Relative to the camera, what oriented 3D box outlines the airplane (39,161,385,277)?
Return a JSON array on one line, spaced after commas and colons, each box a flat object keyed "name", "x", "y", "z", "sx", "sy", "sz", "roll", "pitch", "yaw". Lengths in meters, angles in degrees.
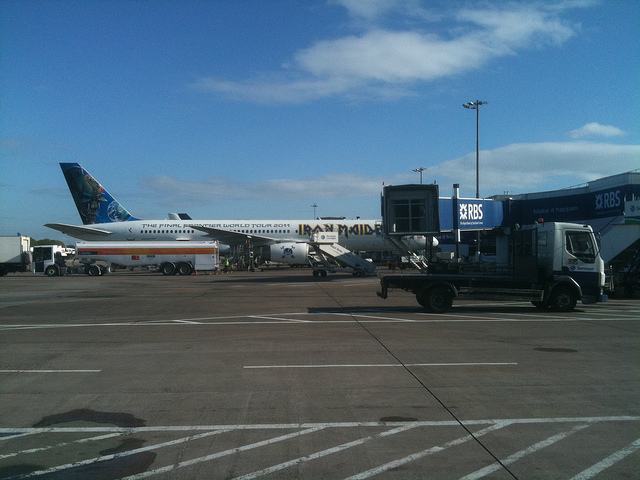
[{"name": "airplane", "x": -7.737, "y": -1.838, "z": 56.216, "sx": 33.876, "sy": 8.774, "sz": 25.848, "roll": 0, "pitch": 0, "yaw": 4}]
